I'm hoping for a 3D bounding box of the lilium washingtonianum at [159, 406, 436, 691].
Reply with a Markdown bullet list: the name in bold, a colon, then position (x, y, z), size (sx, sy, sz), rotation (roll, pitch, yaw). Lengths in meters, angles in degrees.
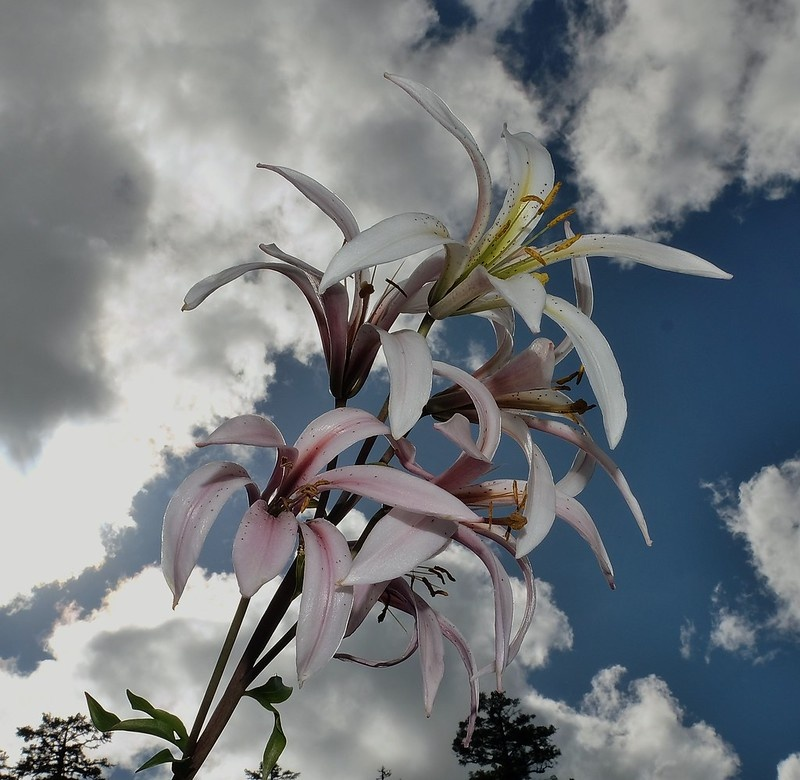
- **lilium washingtonianum**: position (-0.356, 0.316, 2.816), size (0.551, 0.660, 0.228), rotation (17, -64, 25)
